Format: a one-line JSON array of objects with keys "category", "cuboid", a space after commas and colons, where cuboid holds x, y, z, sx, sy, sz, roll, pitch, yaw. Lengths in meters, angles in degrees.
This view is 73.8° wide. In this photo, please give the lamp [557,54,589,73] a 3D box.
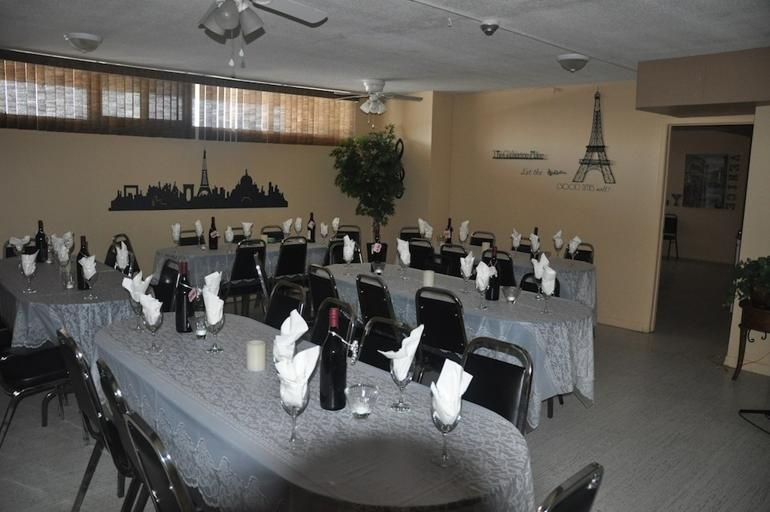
[{"category": "lamp", "cuboid": [2.205, -2.252, 5.987, 0.299, 0.125, 0.312, 0, -1, 9]}]

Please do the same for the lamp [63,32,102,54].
[{"category": "lamp", "cuboid": [-3.315, -2.369, 5.678, 0.377, 0.148, 0.343, -1, 13, -10]}]
